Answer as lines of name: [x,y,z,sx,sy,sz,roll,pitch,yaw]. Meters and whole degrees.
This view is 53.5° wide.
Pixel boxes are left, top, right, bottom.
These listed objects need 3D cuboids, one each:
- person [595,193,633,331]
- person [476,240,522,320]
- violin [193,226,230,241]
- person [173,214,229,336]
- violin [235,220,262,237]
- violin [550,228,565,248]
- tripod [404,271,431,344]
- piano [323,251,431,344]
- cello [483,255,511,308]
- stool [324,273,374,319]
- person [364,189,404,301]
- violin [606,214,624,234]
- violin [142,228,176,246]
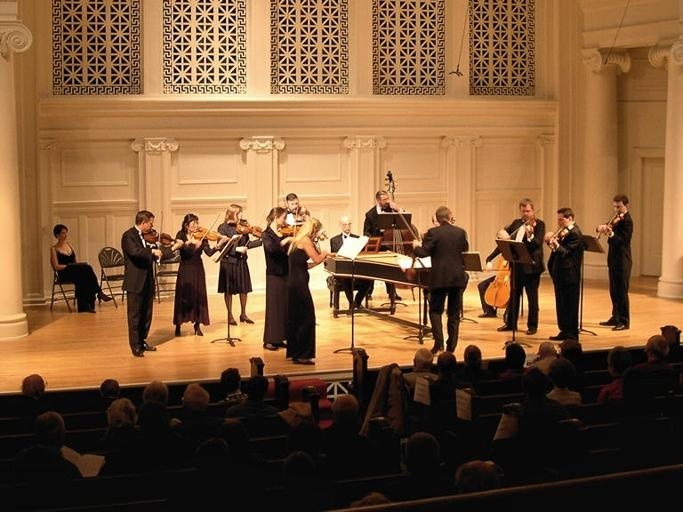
person: [3.750,0.107,9.253,0.356,1.825,0.580,1,4,21]
person: [2.351,0.306,10.033,0.342,1.184,0.450,17,-7,-36]
violin: [-1.731,-0.270,9.068,0.422,0.078,0.192,15,12,-3]
person: [-1.909,0.283,9.089,0.642,1.666,0.962,-1,4,-15]
violin: [-1.274,-0.357,9.350,0.339,0.160,0.253,20,17,29]
violin: [2.751,-0.215,8.657,0.070,0.299,0.153,22,6,18]
tripod: [1.051,0.743,9.354,0.334,0.785,0.829,-2,5,-1]
piano: [0.439,0.461,8.918,0.942,0.811,1.451,-6,16,-26]
cello: [2.285,0.337,9.865,0.274,0.818,0.196,4,-13,43]
stool: [0.094,0.612,10.333,0.582,0.867,0.600,3,-1,-34]
person: [0.674,-0.166,10.527,0.738,1.589,0.580,-3,-1,-13]
violin: [3.670,-0.465,9.195,0.086,0.318,0.224,7,2,-22]
violin: [-2.266,-0.194,8.416,0.332,0.096,0.186,14,38,-4]
